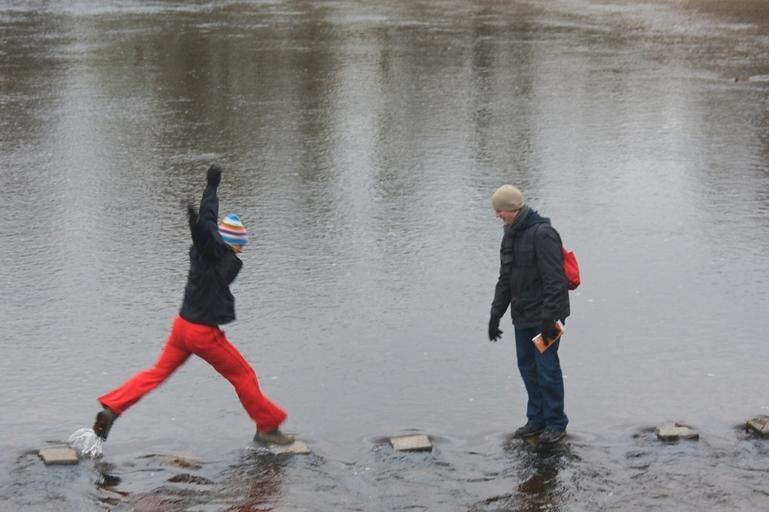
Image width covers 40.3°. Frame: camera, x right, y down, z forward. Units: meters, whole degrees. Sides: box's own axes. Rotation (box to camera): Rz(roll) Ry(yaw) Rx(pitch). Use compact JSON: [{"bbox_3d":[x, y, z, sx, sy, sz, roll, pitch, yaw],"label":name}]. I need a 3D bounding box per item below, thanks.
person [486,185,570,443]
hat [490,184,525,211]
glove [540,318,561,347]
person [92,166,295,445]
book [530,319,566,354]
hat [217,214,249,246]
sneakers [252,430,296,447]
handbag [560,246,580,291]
[{"bbox_3d":[1.424,0.529,10.041,0.565,2.369,0.883,-10,16,-35],"label":"person"},{"bbox_3d":[1.191,-0.530,10.104,0.357,0.257,0.243,-15,8,16],"label":"hat"},{"bbox_3d":[1.550,0.723,9.896,0.196,0.236,0.076,-4,45,-26],"label":"glove"},{"bbox_3d":[-1.735,0.499,9.850,1.711,2.554,0.563,-1,13,-4],"label":"person"},{"bbox_3d":[1.562,0.735,9.904,0.341,0.313,0.098,-33,43,-7],"label":"book"},{"bbox_3d":[-1.406,-0.258,10.025,0.369,0.260,0.251,15,26,31],"label":"hat"},{"bbox_3d":[-1.053,1.717,9.986,0.389,0.221,0.147,-6,11,-8],"label":"sneakers"},{"bbox_3d":[1.798,0.146,10.070,0.162,0.428,0.407,2,12,9],"label":"handbag"}]
